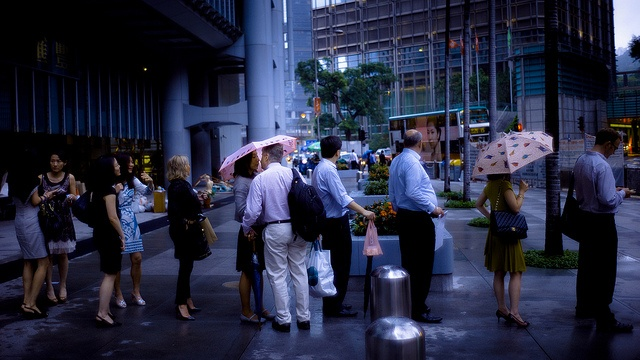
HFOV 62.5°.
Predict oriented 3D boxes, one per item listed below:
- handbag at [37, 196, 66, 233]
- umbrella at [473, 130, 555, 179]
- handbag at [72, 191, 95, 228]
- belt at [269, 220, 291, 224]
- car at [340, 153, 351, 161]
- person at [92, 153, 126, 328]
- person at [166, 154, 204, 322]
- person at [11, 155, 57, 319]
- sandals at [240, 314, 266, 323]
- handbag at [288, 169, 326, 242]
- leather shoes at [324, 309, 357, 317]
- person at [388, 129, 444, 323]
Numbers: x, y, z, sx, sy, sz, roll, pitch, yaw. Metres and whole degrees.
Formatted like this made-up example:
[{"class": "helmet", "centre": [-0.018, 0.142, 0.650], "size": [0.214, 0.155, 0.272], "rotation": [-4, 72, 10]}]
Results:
[{"class": "handbag", "centre": [-5.958, 0.771, 11.638], "size": [0.706, 0.690, 0.359], "rotation": [-18, -12, 37]}, {"class": "umbrella", "centre": [4.013, -0.551, 11.071], "size": [1.739, 0.929, 0.771], "rotation": [-1, 2, -23]}, {"class": "handbag", "centre": [-4.972, 0.617, 11.095], "size": [0.535, 0.685, 0.276], "rotation": [-9, -14, 41]}, {"class": "belt", "centre": [-0.821, 0.838, 10.648], "size": [0.442, 0.087, 0.050], "rotation": [-1, 2, -4]}, {"class": "car", "centre": [2.654, -2.480, 58.799], "size": [1.776, 0.838, 1.071], "rotation": [4, 6, 15]}, {"class": "person", "centre": [-4.455, 1.275, 11.064], "size": [0.652, 3.547, 0.379], "rotation": [-1, 2, -14]}, {"class": "person", "centre": [-2.895, 1.225, 11.288], "size": [0.686, 3.472, 0.329], "rotation": [-1, 2, -6]}, {"class": "person", "centre": [-6.239, 1.290, 11.418], "size": [0.819, 3.286, 0.533], "rotation": [-1, 2, -23]}, {"class": "sandals", "centre": [-1.434, 2.911, 11.152], "size": [0.478, 0.160, 0.193], "rotation": [-1, -1, 6]}, {"class": "handbag", "centre": [-0.274, 0.529, 10.669], "size": [0.752, 1.490, 0.361], "rotation": [0, 2, 0]}, {"class": "leather shoes", "centre": [0.440, 2.801, 11.325], "size": [0.680, 0.249, 0.224], "rotation": [-4, -2, 2]}, {"class": "person", "centre": [1.998, 0.956, 10.980], "size": [1.052, 4.014, 0.630], "rotation": [0, 2, 10]}]
